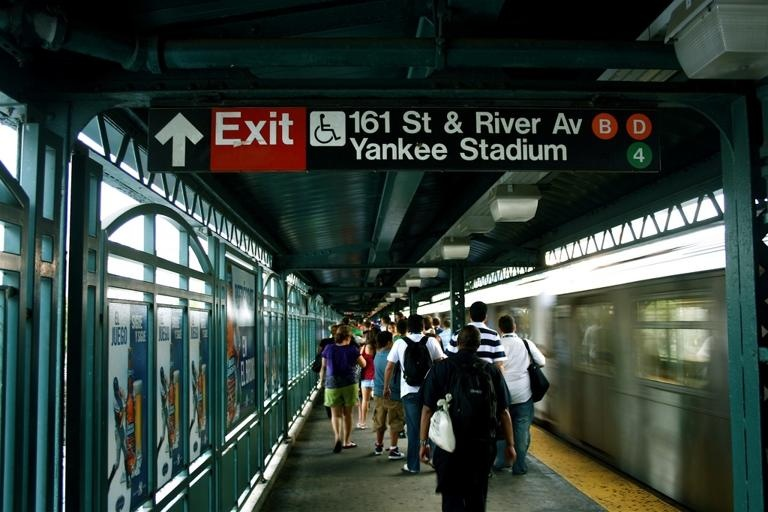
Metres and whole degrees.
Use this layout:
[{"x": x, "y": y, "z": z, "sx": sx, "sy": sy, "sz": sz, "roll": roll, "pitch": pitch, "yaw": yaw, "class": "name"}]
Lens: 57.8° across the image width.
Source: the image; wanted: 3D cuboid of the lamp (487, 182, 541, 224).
[{"x": 1.514, "y": -0.574, "z": 8.065, "sx": 0.403, "sy": 0.384, "sz": 0.548, "roll": 0, "pitch": -6, "yaw": 0, "class": "lamp"}]

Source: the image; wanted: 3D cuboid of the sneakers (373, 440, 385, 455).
[{"x": -0.064, "y": 2.818, "z": 10.227, "sx": 0.173, "sy": 0.223, "sz": 0.498, "roll": 1, "pitch": -10, "yaw": 1, "class": "sneakers"}]

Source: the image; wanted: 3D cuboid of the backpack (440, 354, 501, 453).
[{"x": 0.820, "y": 1.350, "z": 6.388, "sx": 0.453, "sy": 0.817, "sz": 0.264, "roll": -2, "pitch": 1, "yaw": 4, "class": "backpack"}]

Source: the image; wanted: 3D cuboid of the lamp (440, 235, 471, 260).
[{"x": 1.126, "y": -0.054, "z": 10.827, "sx": 0.411, "sy": 0.390, "sz": 0.331, "roll": 1, "pitch": -11, "yaw": -10, "class": "lamp"}]

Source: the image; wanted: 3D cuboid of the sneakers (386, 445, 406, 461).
[{"x": 0.200, "y": 2.800, "z": 9.907, "sx": 0.307, "sy": 0.152, "sz": 0.116, "roll": 8, "pitch": -11, "yaw": -37, "class": "sneakers"}]

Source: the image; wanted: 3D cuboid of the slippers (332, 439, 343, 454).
[{"x": -0.689, "y": 2.856, "z": 10.417, "sx": 0.079, "sy": 0.242, "sz": 0.093, "roll": 4, "pitch": 1, "yaw": 3, "class": "slippers"}]
